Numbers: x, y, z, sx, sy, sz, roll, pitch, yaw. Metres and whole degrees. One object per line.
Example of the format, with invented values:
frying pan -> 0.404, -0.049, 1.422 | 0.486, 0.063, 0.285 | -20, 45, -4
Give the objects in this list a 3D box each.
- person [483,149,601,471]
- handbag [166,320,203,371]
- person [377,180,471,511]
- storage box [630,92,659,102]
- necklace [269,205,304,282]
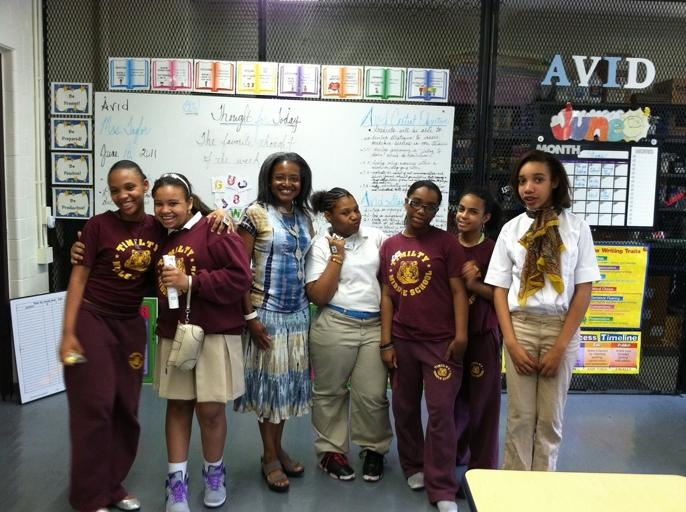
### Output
person -> 1.027, 0.290, 3.041 | 0.566, 1.663, 0.374 | 1, 9, 13
handbag -> -0.807, 0.463, 2.990 | 0.180, 0.229, 0.073 | 12, 3, -10
person -> 0.434, 0.498, 3.285 | 0.512, 1.832, 0.437 | 1, 9, 11
storage box -> 2.410, -1.276, 4.662 | 0.226, 0.086, 0.035 | -2, 9, -11
necklace -> -0.326, -0.061, 3.413 | 0.300, 0.472, 0.154 | -5, 10, -25
